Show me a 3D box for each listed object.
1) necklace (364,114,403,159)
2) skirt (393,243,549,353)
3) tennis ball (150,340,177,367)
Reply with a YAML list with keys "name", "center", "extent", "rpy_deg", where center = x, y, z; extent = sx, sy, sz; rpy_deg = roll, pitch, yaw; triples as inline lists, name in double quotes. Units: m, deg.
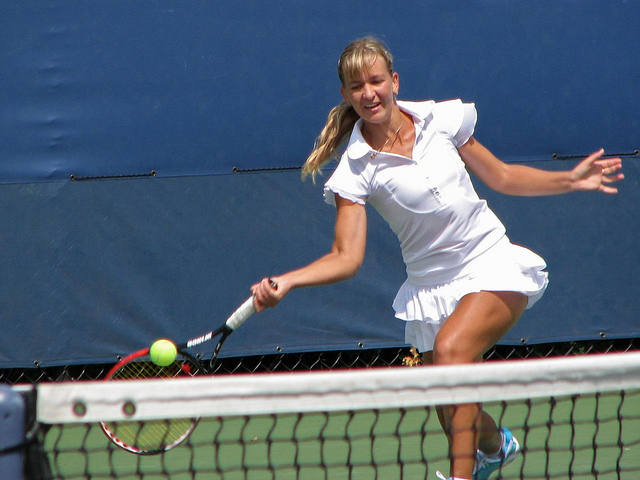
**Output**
- name: "necklace"
  center: [0.315, -0.503, 4.371]
  extent: [0.157, 0.008, 0.164]
  rpy_deg: [10, 71, 48]
- name: "skirt"
  center: [0.738, 0.233, 4.396]
  extent: [0.583, 0.283, 0.595]
  rpy_deg: [-30, -6, -12]
- name: "tennis ball"
  center: [-0.860, 0.609, 4.930]
  extent: [0.129, 0.127, 0.124]
  rpy_deg: [-51, 7, 9]
